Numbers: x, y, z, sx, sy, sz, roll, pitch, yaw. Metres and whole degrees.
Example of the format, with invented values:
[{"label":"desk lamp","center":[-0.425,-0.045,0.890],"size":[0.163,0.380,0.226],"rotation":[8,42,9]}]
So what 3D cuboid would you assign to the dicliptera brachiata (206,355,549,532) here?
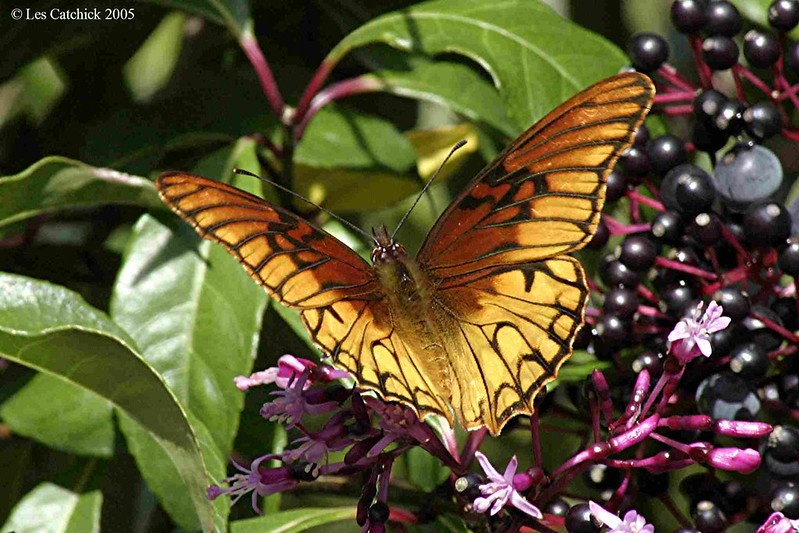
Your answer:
[{"label":"dicliptera brachiata","center":[-0.078,0.702,2.803],"size":[0.627,0.753,0.274],"rotation":[-51,18,45]}]

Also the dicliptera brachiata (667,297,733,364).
[{"label":"dicliptera brachiata","center":[0.887,0.183,2.734],"size":[0.117,0.159,0.178],"rotation":[-62,1,33]}]
